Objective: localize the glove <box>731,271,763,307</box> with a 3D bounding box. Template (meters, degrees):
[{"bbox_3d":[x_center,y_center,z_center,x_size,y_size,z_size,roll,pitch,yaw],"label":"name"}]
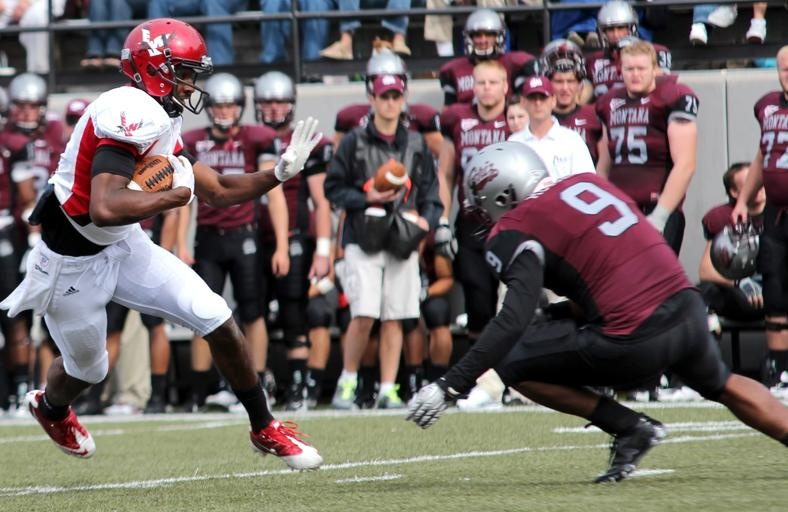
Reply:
[{"bbox_3d":[2.667,0.246,7.647,0.180,0.235,0.079,-36,-6,2],"label":"glove"}]

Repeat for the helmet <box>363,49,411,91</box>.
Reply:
[{"bbox_3d":[-0.055,-1.465,7.820,0.292,0.340,0.371,-2,-13,-3],"label":"helmet"}]

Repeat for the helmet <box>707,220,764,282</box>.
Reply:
[{"bbox_3d":[2.519,-0.004,7.339,0.372,0.434,0.359,1,-1,-43],"label":"helmet"}]

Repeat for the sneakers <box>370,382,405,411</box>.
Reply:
[{"bbox_3d":[-0.033,1.037,7.532,0.199,0.195,0.170,-3,0,1],"label":"sneakers"}]

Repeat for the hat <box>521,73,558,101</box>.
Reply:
[{"bbox_3d":[1.038,-1.226,7.346,0.208,0.162,0.157,-3,0,1],"label":"hat"}]

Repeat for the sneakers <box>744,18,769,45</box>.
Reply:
[{"bbox_3d":[3.009,-1.867,8.418,0.113,0.258,0.114,4,-28,11],"label":"sneakers"}]

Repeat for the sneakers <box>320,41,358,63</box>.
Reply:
[{"bbox_3d":[-0.500,-1.801,8.988,0.248,0.118,0.144,6,-4,5],"label":"sneakers"}]

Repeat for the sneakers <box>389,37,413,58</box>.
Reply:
[{"bbox_3d":[0.059,-1.831,8.932,0.214,0.212,0.101,3,-9,-11],"label":"sneakers"}]

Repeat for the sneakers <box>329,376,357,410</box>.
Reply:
[{"bbox_3d":[-0.368,1.029,7.620,0.173,0.256,0.189,-3,0,-6],"label":"sneakers"}]

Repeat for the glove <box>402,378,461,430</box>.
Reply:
[{"bbox_3d":[0.167,0.693,4.835,0.253,0.195,0.110,-38,-42,2],"label":"glove"}]

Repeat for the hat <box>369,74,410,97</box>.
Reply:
[{"bbox_3d":[-0.034,-1.273,7.562,0.246,0.157,0.154,-3,0,-7],"label":"hat"}]

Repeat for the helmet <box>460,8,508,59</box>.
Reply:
[{"bbox_3d":[0.725,-1.772,8.093,0.308,0.336,0.396,-1,1,4],"label":"helmet"}]

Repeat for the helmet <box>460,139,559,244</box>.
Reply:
[{"bbox_3d":[0.564,-0.386,5.245,0.448,0.447,0.408,-31,10,11],"label":"helmet"}]

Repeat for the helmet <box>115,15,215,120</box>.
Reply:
[{"bbox_3d":[-1.170,-1.031,5.392,0.542,0.552,0.408,0,6,-5],"label":"helmet"}]

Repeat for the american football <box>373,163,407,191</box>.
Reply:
[{"bbox_3d":[-0.020,-0.536,7.332,0.173,0.190,0.221,25,-30,-35],"label":"american football"}]

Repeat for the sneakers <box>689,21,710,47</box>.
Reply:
[{"bbox_3d":[2.546,-1.857,8.458,0.084,0.112,0.243,-1,-8,9],"label":"sneakers"}]

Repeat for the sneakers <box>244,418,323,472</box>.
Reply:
[{"bbox_3d":[-0.541,0.976,5.323,0.471,0.220,0.190,18,42,17],"label":"sneakers"}]

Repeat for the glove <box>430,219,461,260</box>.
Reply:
[{"bbox_3d":[0.395,-0.121,7.796,0.146,0.203,0.284,-13,40,-3],"label":"glove"}]

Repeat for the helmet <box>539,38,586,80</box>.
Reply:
[{"bbox_3d":[1.302,-1.522,7.827,0.286,0.327,0.332,1,-24,-3],"label":"helmet"}]

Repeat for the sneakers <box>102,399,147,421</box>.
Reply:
[{"bbox_3d":[-2.168,1.254,8.208,0.330,0.145,0.123,4,-4,-5],"label":"sneakers"}]

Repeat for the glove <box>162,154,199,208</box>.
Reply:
[{"bbox_3d":[-1.056,-0.384,5.064,0.078,0.227,0.165,-9,3,-15],"label":"glove"}]
